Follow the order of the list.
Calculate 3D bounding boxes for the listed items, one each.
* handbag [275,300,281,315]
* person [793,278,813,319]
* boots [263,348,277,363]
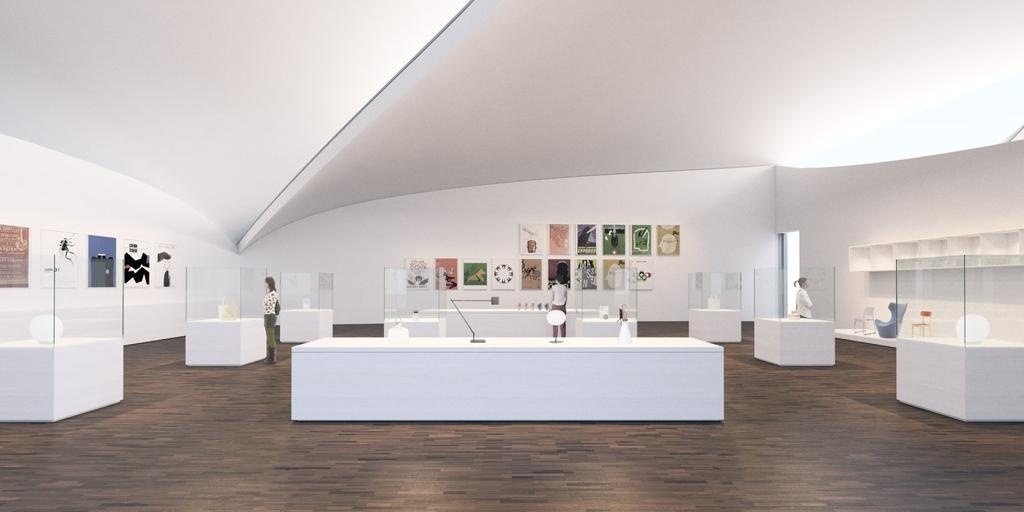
[{"bbox_3d":[-5.658,1.304,14.140,0.158,0.412,0.163,4,40,-13],"label":"handbag"},{"bbox_3d":[6.999,1.028,14.342,0.497,0.971,0.422,2,-4,-36],"label":"person"},{"bbox_3d":[-5.879,2.381,14.120,0.464,0.361,0.251,-2,-3,27],"label":"boots"}]
